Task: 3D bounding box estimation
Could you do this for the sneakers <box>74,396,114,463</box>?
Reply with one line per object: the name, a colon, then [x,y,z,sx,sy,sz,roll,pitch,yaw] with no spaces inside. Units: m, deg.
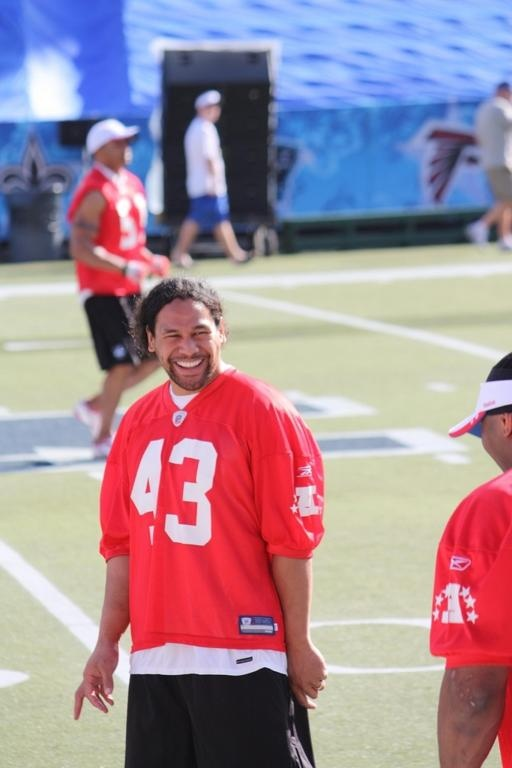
sneakers: [-0.997,0.283,7.432,0.177,0.383,0.130,-29,5,11]
